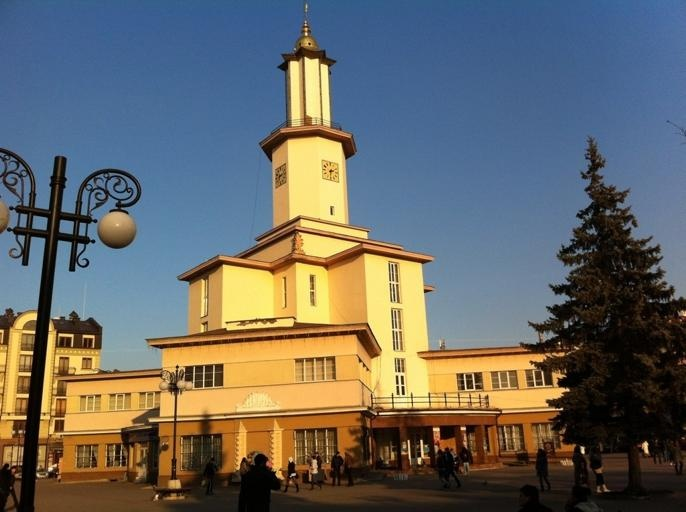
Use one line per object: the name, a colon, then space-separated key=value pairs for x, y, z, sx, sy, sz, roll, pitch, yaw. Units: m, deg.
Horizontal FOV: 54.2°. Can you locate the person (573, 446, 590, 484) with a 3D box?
person: x=9.287 y=8.205 z=26.136 sx=0.513 sy=1.469 sz=2.377 roll=-8 pitch=-17 yaw=17
